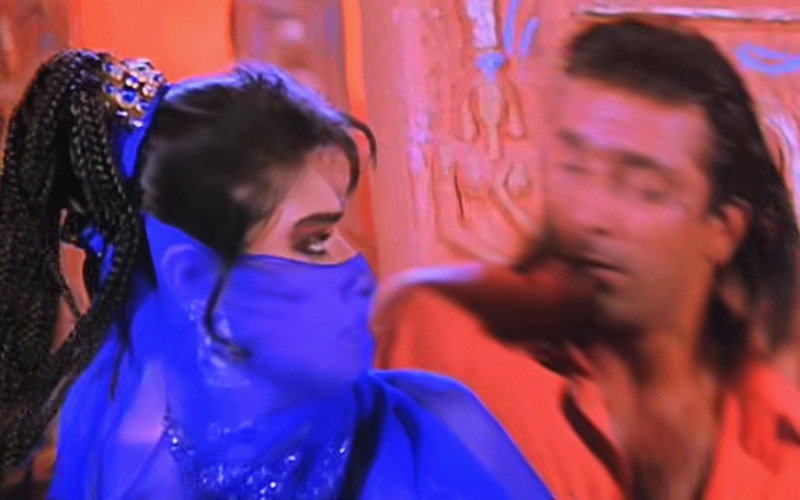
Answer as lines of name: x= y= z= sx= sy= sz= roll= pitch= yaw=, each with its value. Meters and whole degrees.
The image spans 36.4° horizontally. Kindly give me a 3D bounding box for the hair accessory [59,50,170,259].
hair accessory: x=-0.556 y=-0.189 z=2.391 sx=0.122 sy=0.353 sz=0.289 roll=0 pitch=-6 yaw=44
